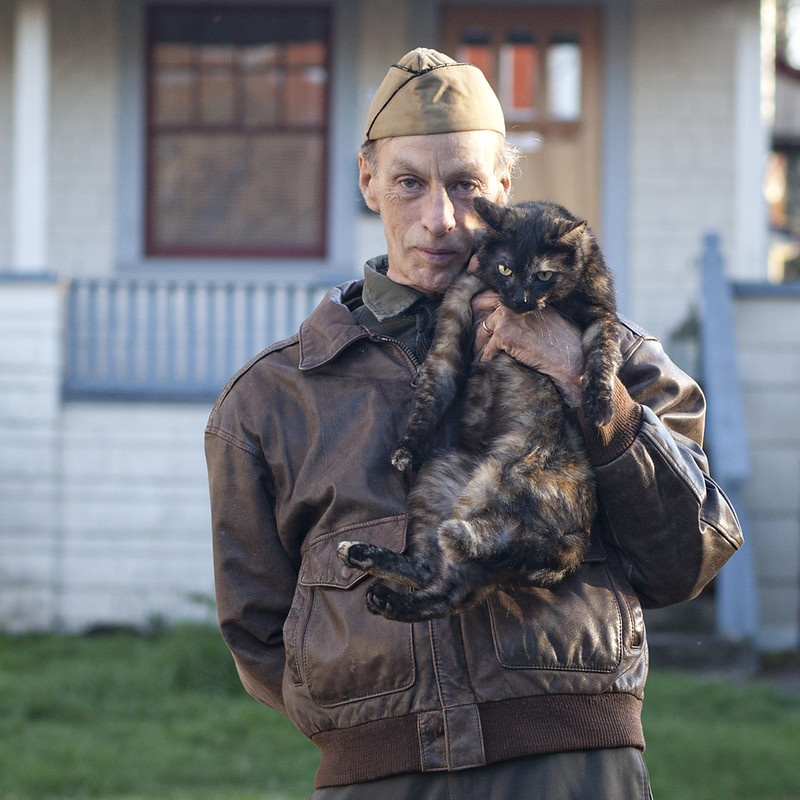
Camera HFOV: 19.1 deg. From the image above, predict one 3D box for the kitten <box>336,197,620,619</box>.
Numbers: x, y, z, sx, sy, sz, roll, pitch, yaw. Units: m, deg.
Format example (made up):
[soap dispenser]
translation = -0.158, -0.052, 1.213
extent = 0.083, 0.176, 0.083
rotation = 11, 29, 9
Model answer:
[kitten]
translation = 0.555, 0.193, 13.125
extent = 1.210, 2.478, 0.721
rotation = 12, -8, 5
